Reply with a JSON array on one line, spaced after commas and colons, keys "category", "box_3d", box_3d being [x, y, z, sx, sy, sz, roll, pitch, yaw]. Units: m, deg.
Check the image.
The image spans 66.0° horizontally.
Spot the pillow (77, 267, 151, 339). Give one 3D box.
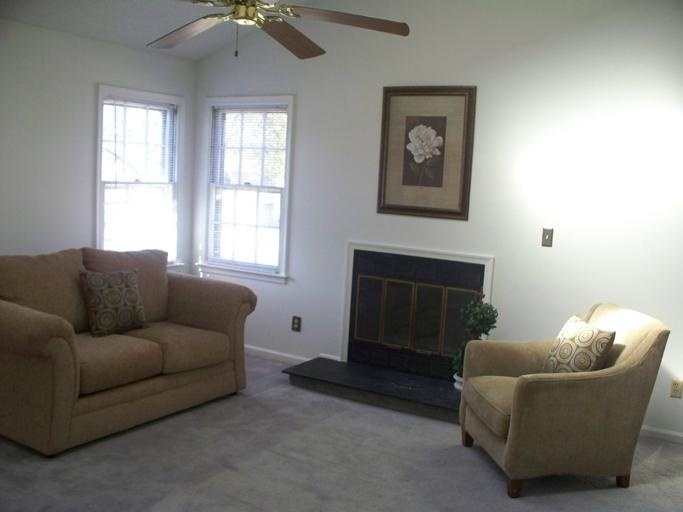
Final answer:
[{"category": "pillow", "box_3d": [-1.771, 0.368, 4.020, 0.174, 0.493, 0.479, -20, -13, 40]}]

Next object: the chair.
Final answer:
[{"category": "chair", "box_3d": [1.404, 0.869, 3.429, 1.038, 1.047, 0.754, 1, 12, -10]}]
